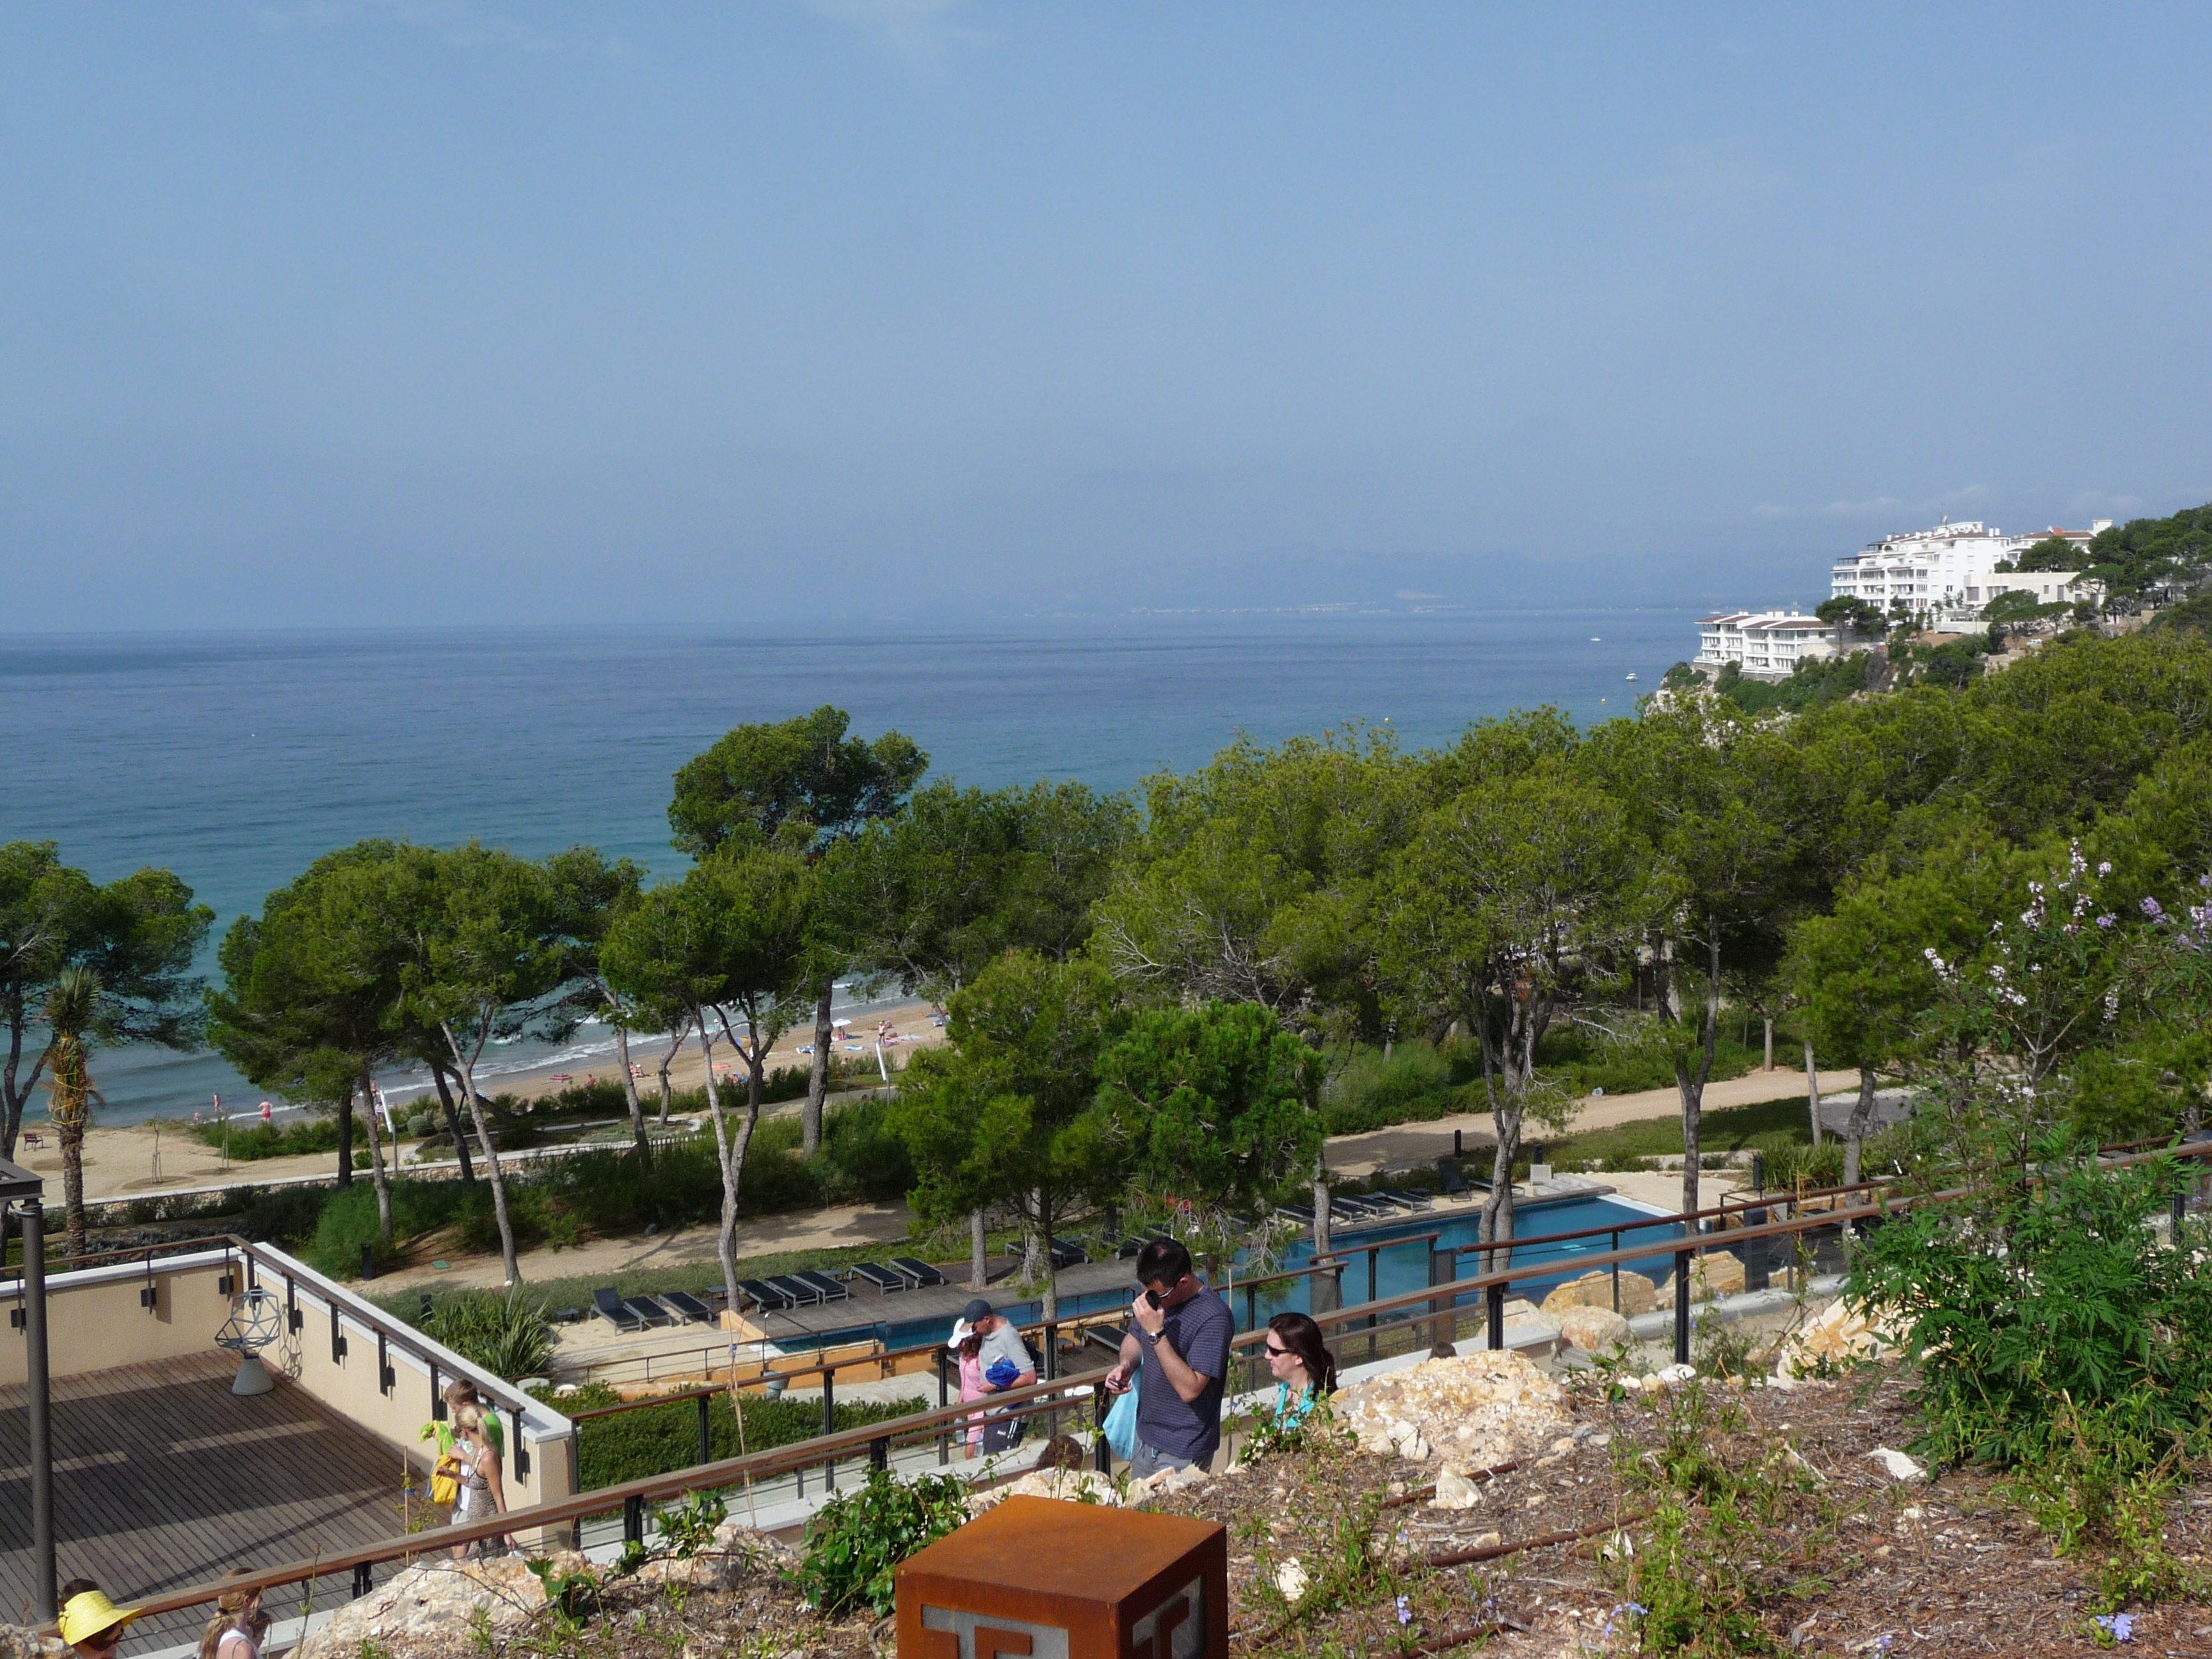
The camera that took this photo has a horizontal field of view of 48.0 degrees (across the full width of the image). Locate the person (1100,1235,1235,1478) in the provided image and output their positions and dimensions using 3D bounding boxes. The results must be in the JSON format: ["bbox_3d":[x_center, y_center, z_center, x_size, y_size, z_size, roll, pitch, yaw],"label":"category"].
[{"bbox_3d":[0.338,3.378,16.118,0.874,1.577,0.612,2,6,37],"label":"person"}]

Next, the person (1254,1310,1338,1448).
[{"bbox_3d":[1.241,3.516,16.239,0.470,0.712,0.826,-1,5,3],"label":"person"}]

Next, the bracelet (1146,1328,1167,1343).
[{"bbox_3d":[0.337,3.230,16.006,0.066,0.085,0.052,-3,29,16],"label":"bracelet"}]
